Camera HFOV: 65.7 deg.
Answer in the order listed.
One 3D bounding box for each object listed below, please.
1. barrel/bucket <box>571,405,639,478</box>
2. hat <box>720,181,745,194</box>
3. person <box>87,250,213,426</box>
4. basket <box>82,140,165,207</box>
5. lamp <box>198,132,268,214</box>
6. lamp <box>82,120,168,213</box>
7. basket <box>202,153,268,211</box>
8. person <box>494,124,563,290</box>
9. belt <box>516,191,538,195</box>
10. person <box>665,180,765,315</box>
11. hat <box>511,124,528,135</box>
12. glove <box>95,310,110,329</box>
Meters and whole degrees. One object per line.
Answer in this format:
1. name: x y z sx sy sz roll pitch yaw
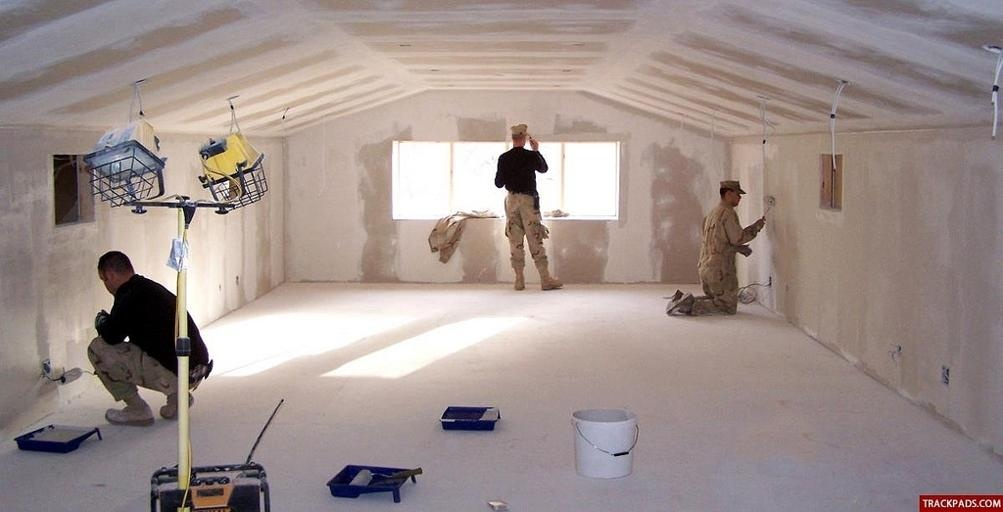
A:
1. barrel/bucket: 0.906 1.593 6.691 0.565 0.397 0.577 0 -6 0
2. hat: 3.189 -0.944 10.620 0.313 0.115 0.217 5 8 -4
3. person: -3.411 0.803 7.753 1.230 1.568 1.087 -4 -3 -17
4. basket: -3.243 -0.790 6.564 0.513 0.369 0.450 -9 22 -31
5. lamp: -2.680 -0.846 7.685 0.483 0.636 0.681 -18 12 1
6. lamp: -3.193 -0.838 6.597 0.597 0.588 0.646 -14 -16 13
7. basket: -2.631 -0.640 7.384 0.745 0.353 0.499 -8 -6 -28
8. person: 0.393 -0.739 12.023 0.925 2.510 0.425 -1 11 0
9. belt: 0.402 -0.953 11.874 0.313 0.077 0.078 -4 12 -19
10. person: 2.965 -0.103 10.571 1.069 1.757 0.541 0 11 4
11. hat: 0.294 -1.943 11.974 0.227 0.103 0.262 -1 7 1
12. glove: -3.869 0.625 7.550 0.144 0.205 0.106 -22 -29 27
